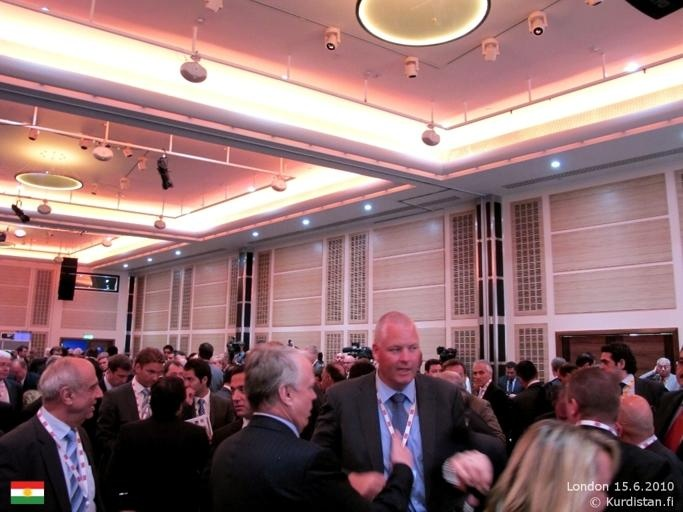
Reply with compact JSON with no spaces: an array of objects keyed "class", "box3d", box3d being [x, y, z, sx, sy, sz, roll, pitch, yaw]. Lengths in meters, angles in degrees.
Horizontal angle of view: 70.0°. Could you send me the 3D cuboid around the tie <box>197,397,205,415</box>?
[{"class":"tie","box3d":[-1.350,1.450,4.681,0.048,0.151,0.048,-1,-20,-4]}]
